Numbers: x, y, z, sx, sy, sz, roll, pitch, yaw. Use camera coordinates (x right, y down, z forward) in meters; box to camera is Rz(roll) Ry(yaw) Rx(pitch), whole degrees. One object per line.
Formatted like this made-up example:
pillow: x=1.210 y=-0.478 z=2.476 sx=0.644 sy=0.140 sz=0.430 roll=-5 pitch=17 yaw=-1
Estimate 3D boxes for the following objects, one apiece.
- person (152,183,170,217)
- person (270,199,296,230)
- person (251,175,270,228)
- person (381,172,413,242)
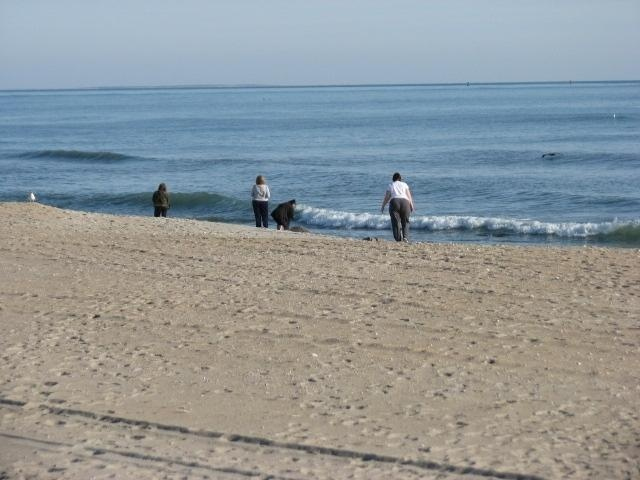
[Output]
person: x=-3.762 y=-0.916 z=22.047 sx=0.329 sy=0.820 sz=1.048 roll=-1 pitch=6 yaw=-10
person: x=-0.799 y=-0.653 z=21.013 sx=0.389 sy=0.476 sz=0.971 roll=2 pitch=15 yaw=11
person: x=-1.316 y=-0.819 z=20.552 sx=0.331 sy=1.201 sz=0.999 roll=-1 pitch=6 yaw=-4
person: x=1.523 y=-0.626 z=18.537 sx=0.576 sy=1.377 sz=1.096 roll=0 pitch=6 yaw=4
